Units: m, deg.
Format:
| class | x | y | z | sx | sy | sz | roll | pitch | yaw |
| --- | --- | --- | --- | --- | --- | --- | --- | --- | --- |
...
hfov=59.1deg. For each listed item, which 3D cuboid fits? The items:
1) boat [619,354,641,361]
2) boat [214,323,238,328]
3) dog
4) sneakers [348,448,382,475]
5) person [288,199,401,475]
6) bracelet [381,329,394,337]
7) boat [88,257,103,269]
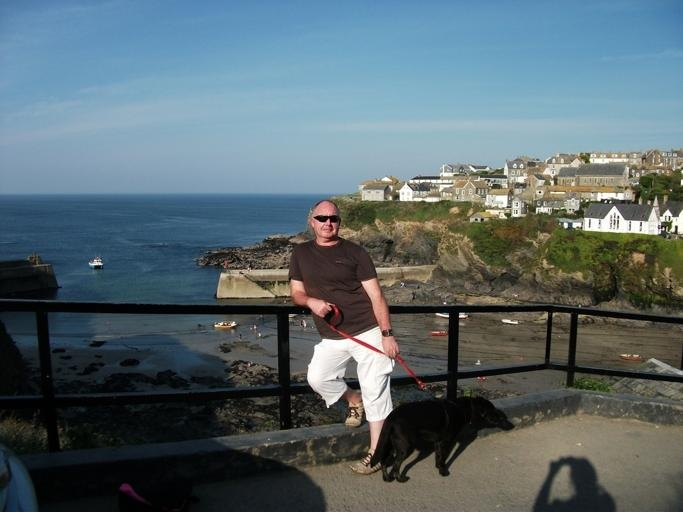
| class | x | y | z | sx | sy | sz | roll | pitch | yaw |
| --- | --- | --- | --- | --- | --- | --- | --- | --- | --- |
| boat | 13.711 | 4.754 | 28.608 | 0.909 | 0.242 | 1.504 | 2 | -2 | 21 |
| boat | -5.621 | 3.367 | 29.319 | 0.656 | 0.142 | 0.867 | 6 | -6 | -42 |
| dog | 0.807 | 1.468 | 4.925 | 1.358 | 0.586 | 0.313 | 3 | -10 | -25 |
| sneakers | 0.232 | 1.689 | 4.911 | 0.118 | 0.125 | 0.344 | -4 | -13 | 41 |
| person | 0.003 | 0.642 | 4.995 | 0.928 | 1.627 | 0.408 | 4 | -2 | -5 |
| bracelet | 0.369 | 0.619 | 4.895 | 0.073 | 0.064 | 0.071 | -5 | -3 | 33 |
| boat | -25.238 | 0.736 | 62.294 | 1.374 | 1.074 | 3.193 | -2 | 0 | -27 |
